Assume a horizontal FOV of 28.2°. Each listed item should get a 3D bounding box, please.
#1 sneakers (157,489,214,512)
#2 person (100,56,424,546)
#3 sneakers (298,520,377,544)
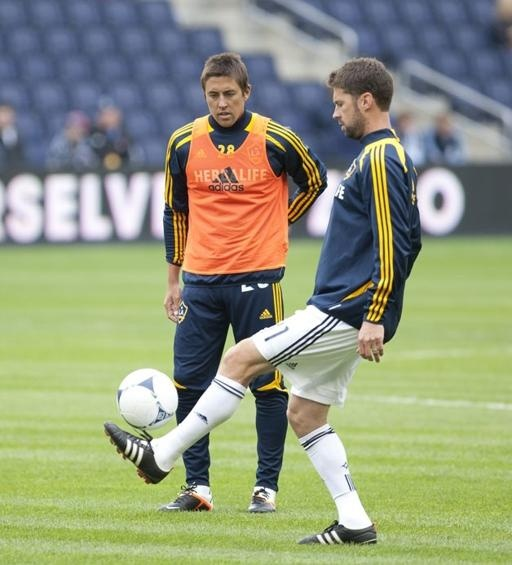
[{"bbox_3d":[-0.316,1.004,4.666,0.264,0.094,0.087,3,-5,-9],"label":"sneakers"},{"bbox_3d":[0.168,0.050,4.288,1.006,2.010,0.472,2,6,8],"label":"person"},{"bbox_3d":[0.346,1.035,4.233,0.340,0.110,0.104,3,-12,0],"label":"sneakers"}]
